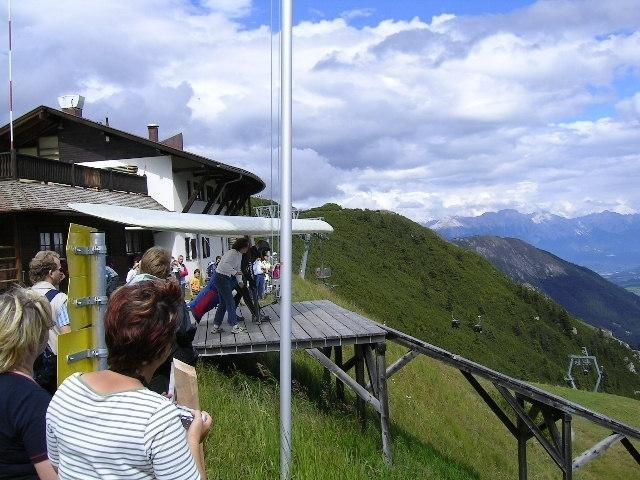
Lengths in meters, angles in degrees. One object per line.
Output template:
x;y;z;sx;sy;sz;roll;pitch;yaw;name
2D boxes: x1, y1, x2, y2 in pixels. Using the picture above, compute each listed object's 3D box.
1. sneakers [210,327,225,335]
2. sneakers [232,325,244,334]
-1.980;1.690;9.124;0.287;0.137;0.108;0;22;-15;sneakers
-1.556;1.662;9.102;0.255;0.168;0.097;-6;18;-25;sneakers
